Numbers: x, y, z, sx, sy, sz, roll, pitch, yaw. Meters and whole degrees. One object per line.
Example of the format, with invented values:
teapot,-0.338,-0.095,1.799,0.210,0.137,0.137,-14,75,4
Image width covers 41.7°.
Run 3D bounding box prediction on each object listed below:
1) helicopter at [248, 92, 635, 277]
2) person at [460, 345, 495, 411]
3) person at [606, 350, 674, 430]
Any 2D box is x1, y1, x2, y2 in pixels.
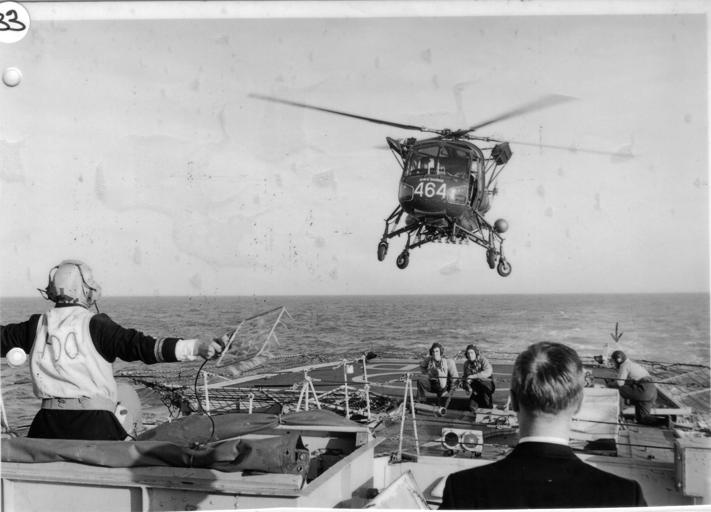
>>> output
helicopter,2.515,-1.701,26.193,6.248,3.478,7.964,4,-4,15
person,2.670,2.842,21.024,0.761,1.608,1.016,-7,-5,8
person,6.052,2.856,20.088,1.219,1.586,0.664,-3,-5,37
